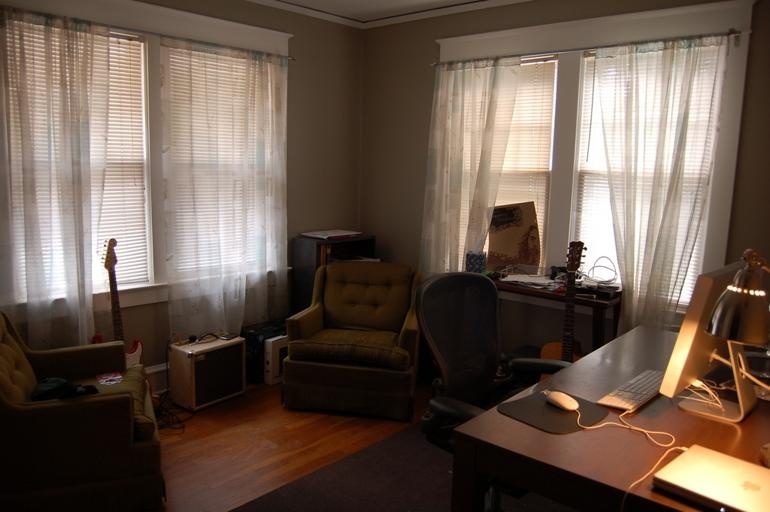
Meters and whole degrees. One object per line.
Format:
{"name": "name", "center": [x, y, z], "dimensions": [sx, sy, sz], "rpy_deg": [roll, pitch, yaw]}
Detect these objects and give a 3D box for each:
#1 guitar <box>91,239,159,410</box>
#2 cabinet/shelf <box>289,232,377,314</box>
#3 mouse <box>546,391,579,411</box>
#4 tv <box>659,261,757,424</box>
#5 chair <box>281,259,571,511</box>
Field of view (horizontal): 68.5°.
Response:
{"name": "guitar", "center": [-2.023, 0.475, 4.405], "dimensions": [0.417, 1.333, 0.170], "rpy_deg": [14, 29, 41]}
{"name": "cabinet/shelf", "center": [-0.504, 0.176, 5.106], "dimensions": [0.408, 0.711, 0.811], "rpy_deg": [5, 3, 38]}
{"name": "mouse", "center": [0.851, 0.689, 2.696], "dimensions": [0.070, 0.038, 0.138], "rpy_deg": [-9, 13, -28]}
{"name": "tv", "center": [1.586, 0.437, 2.761], "dimensions": [0.650, 0.617, 0.281], "rpy_deg": [-11, 20, -38]}
{"name": "chair", "center": [0.079, 0.644, 4.020], "dimensions": [2.013, 1.134, 1.417], "rpy_deg": [4, 6, 17]}
